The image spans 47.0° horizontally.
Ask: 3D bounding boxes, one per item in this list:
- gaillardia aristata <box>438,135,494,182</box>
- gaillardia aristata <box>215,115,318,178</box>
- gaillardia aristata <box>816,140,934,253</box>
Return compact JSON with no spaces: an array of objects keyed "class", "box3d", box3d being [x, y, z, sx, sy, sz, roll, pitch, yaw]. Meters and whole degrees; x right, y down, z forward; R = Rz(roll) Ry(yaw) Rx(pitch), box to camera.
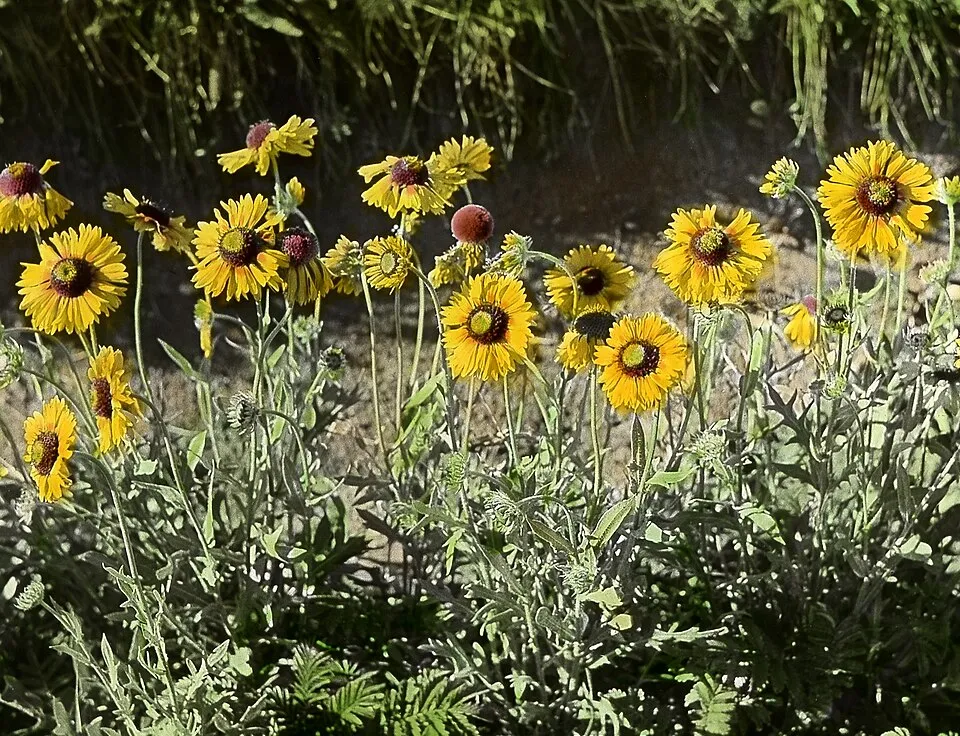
[{"class":"gaillardia aristata","box3d":[-0.028,-0.452,2.417,0.106,0.135,0.051,-7,-9,-5]},{"class":"gaillardia aristata","box3d":[-0.432,-0.482,2.373,0.201,0.133,0.210,2,18,9]},{"class":"gaillardia aristata","box3d":[0.787,-0.364,2.201,0.198,0.092,0.230,11,-26,24]}]
